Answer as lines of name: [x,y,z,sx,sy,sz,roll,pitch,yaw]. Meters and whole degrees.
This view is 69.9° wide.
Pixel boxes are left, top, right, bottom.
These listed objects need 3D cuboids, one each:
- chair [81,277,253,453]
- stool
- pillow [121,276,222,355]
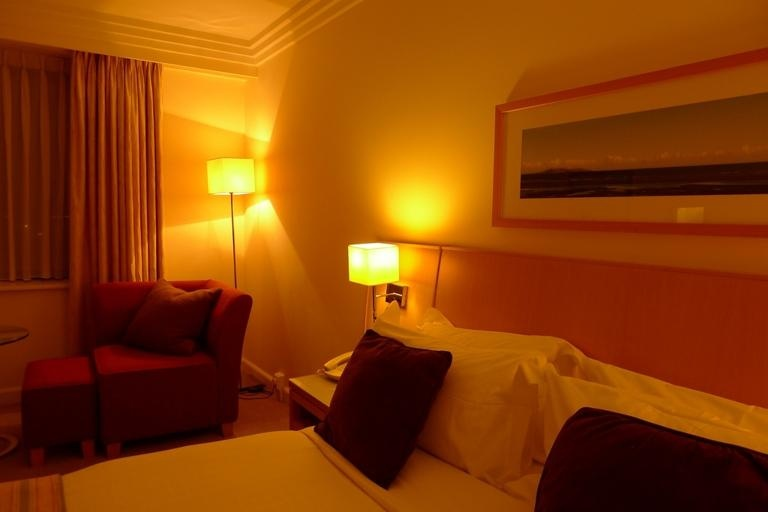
chair: [-1.678,0.760,4.415,1.245,1.259,1.167,2,-5,-27]
stool: [-2.288,1.096,4.030,0.605,0.653,0.605,1,-1,-30]
pillow: [-1.609,0.513,4.154,0.584,0.562,0.179,6,-27,16]
